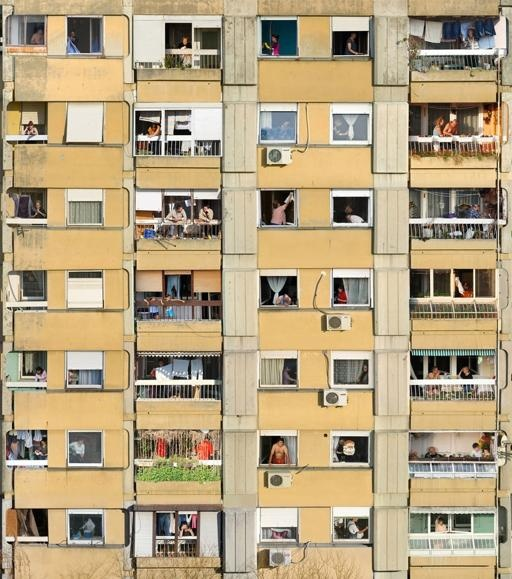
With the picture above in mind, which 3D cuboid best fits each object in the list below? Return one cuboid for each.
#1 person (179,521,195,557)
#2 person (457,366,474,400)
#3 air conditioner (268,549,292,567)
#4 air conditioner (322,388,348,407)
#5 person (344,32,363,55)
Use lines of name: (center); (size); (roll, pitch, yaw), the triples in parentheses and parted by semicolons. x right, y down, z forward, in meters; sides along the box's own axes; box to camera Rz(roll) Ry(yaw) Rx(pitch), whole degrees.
person: (-1.744, 6.503, 56.574); (0.467, 1.276, 0.680); (0, -2, -7)
person: (5.253, 2.433, 56.401); (0.358, 0.436, 1.282); (-7, 39, 11)
air conditioner: (0.593, 6.955, 55.988); (0.573, 0.445, 0.262); (-2, 26, -2)
air conditioner: (1.933, 2.757, 55.860); (0.537, 0.534, 0.353); (1, -1, 4)
person: (2.400, -6.443, 56.001); (0.426, 0.908, 0.427); (-3, 3, 9)
